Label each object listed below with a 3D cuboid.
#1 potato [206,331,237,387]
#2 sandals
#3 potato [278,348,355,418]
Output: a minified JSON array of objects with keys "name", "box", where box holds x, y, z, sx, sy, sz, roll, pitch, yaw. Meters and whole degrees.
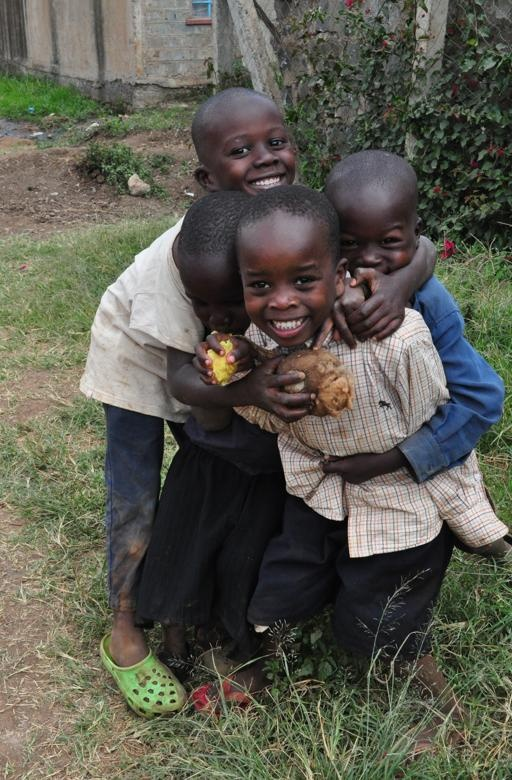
[{"name":"potato","box":[-0.076,-0.071,1.572,0.072,0.107,0.055,8,-19,-1]},{"name":"sandals","box":[-0.352,0.873,2.136,0.134,0.101,0.282,-18,29,-33]},{"name":"potato","box":[0.135,-0.010,1.492,0.164,0.130,0.116,15,-8,-8]}]
